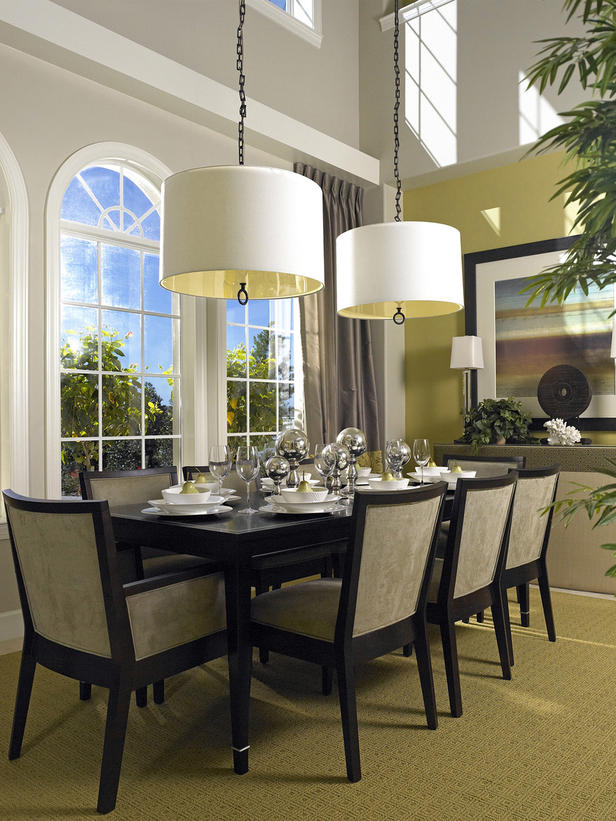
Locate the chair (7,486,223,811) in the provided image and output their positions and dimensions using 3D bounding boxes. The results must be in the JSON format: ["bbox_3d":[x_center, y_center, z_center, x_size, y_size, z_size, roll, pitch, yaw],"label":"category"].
[{"bbox_3d":[-0.661,0.552,2.042,0.580,1.063,0.684,1,2,37],"label":"chair"}]

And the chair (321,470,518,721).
[{"bbox_3d":[0.549,0.582,2.576,0.628,1.150,0.617,1,0,36],"label":"chair"}]

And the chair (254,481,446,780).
[{"bbox_3d":[0.169,0.586,1.914,0.598,0.750,0.464,2,-4,-35],"label":"chair"}]

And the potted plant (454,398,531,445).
[{"bbox_3d":[1.261,0.076,4.412,0.320,0.243,0.339,-4,5,1],"label":"potted plant"}]

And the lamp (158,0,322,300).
[{"bbox_3d":[-0.206,-0.746,2.041,0.500,0.856,0.523,0,-3,1],"label":"lamp"}]
